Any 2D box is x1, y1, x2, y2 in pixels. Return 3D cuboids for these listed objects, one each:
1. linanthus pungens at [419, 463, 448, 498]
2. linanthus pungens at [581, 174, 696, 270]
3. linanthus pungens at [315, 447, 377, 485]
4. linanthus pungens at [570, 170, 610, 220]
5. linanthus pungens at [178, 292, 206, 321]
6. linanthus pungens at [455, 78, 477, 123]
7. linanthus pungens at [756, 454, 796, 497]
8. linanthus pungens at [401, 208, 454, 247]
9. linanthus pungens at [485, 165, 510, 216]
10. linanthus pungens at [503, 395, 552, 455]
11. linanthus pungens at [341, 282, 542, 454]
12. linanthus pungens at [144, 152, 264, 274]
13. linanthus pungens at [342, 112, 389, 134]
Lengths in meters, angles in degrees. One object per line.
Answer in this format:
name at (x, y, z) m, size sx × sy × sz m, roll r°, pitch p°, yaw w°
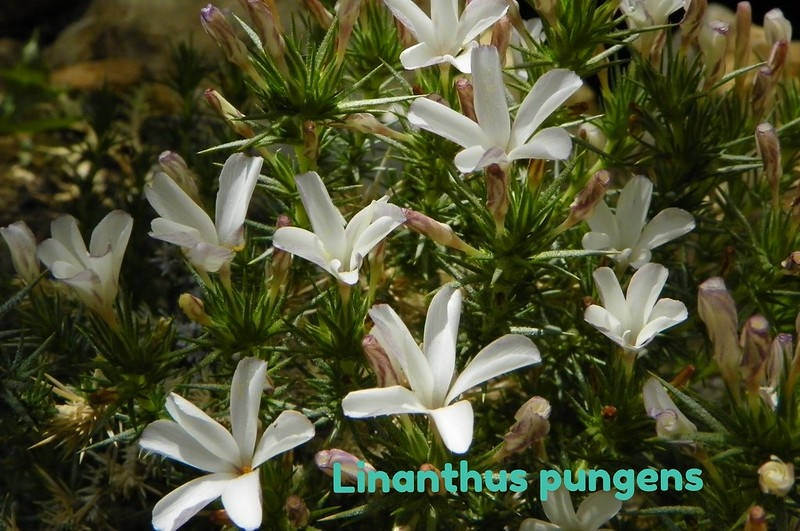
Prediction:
linanthus pungens at (0.080, 0.503, 1.917) m, size 0.021 × 0.075 × 0.073 m, roll -17°, pitch 24°, yaw -29°
linanthus pungens at (0.607, -0.102, 2.139) m, size 0.254 × 0.173 × 0.253 m, roll -27°, pitch 56°, yaw -13°
linanthus pungens at (-0.146, 0.473, 1.954) m, size 0.168 × 0.062 × 0.066 m, roll 19°, pitch 87°, yaw -17°
linanthus pungens at (0.495, -0.184, 2.117) m, size 0.106 × 0.117 × 0.052 m, roll -31°, pitch 41°, yaw 0°
linanthus pungens at (-0.527, 0.115, 2.056) m, size 0.045 × 0.084 × 0.029 m, roll -15°, pitch 28°, yaw 29°
linanthus pungens at (0.166, -0.436, 2.078) m, size 0.034 × 0.138 × 0.039 m, roll -10°, pitch 23°, yaw 15°
linanthus pungens at (0.839, 0.470, 1.804) m, size 0.070 × 0.031 × 0.088 m, roll 23°, pitch 86°, yaw 5°
linanthus pungens at (0.073, -0.094, 2.070) m, size 0.166 × 0.058 × 0.051 m, roll 27°, pitch 32°, yaw -20°
linanthus pungens at (0.234, -0.181, 1.953) m, size 0.039 × 0.109 × 0.061 m, roll 6°, pitch 20°, yaw 33°
linanthus pungens at (0.305, 0.380, 1.940) m, size 0.067 × 0.152 × 0.095 m, roll 8°, pitch 24°, yaw -48°
linanthus pungens at (0.090, 0.254, 1.882) m, size 0.349 × 0.178 × 0.418 m, roll 18°, pitch 57°, yaw 24°
linanthus pungens at (-0.492, -0.176, 2.058) m, size 0.263 × 0.218 × 0.301 m, roll -24°, pitch 44°, yaw 3°
linanthus pungens at (-0.095, -0.404, 2.245) m, size 0.085 × 0.059 × 0.035 m, roll 18°, pitch 14°, yaw -18°
